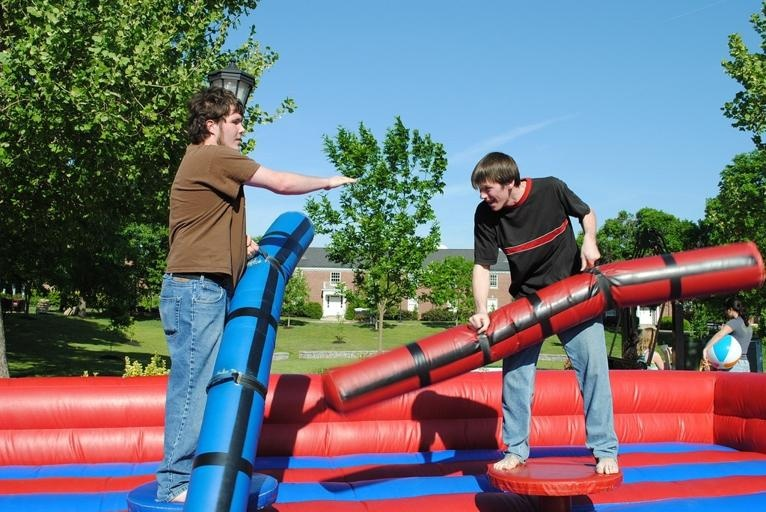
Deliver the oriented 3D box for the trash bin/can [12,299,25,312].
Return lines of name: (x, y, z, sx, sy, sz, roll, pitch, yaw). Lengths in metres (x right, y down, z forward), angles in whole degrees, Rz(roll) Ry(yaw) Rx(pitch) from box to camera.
trash bin/can: (-18.130, 2.487, 37.584, 0.490, 0.934, 1.850, 0, -9, -28)

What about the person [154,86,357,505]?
person: (-1.820, 0.697, 8.327, 1.292, 3.877, 0.652, 1, -11, -8)

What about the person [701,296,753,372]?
person: (5.761, 1.325, 12.811, 0.746, 1.286, 1.176, -6, -13, 29)
